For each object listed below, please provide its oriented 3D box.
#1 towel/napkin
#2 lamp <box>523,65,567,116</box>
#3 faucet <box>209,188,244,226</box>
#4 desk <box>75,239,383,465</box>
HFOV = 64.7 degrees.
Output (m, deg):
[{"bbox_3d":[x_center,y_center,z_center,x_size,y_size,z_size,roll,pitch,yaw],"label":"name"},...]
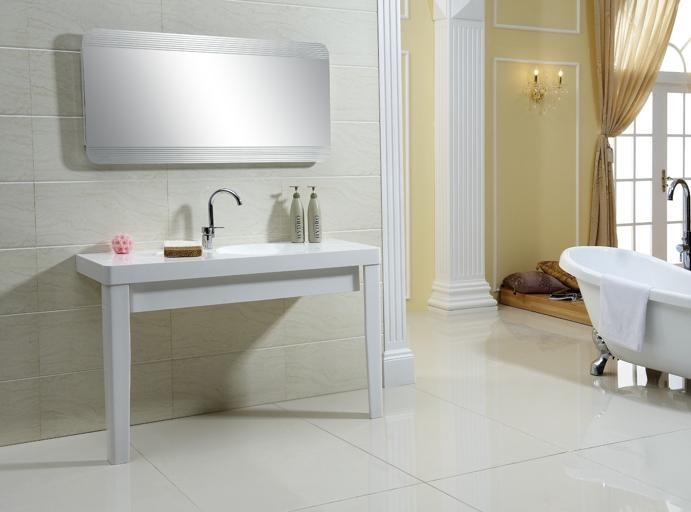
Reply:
[{"bbox_3d":[1.732,0.353,3.417,0.116,0.393,0.352,-14,22,-41],"label":"towel/napkin"},{"bbox_3d":[2.161,-1.842,6.023,0.496,0.584,0.294,-5,11,-22],"label":"lamp"},{"bbox_3d":[-0.691,-0.278,3.110,0.206,0.216,0.257,-6,8,-11],"label":"faucet"},{"bbox_3d":[-0.692,0.562,3.203,1.896,1.257,0.986,-4,7,-26],"label":"desk"}]
